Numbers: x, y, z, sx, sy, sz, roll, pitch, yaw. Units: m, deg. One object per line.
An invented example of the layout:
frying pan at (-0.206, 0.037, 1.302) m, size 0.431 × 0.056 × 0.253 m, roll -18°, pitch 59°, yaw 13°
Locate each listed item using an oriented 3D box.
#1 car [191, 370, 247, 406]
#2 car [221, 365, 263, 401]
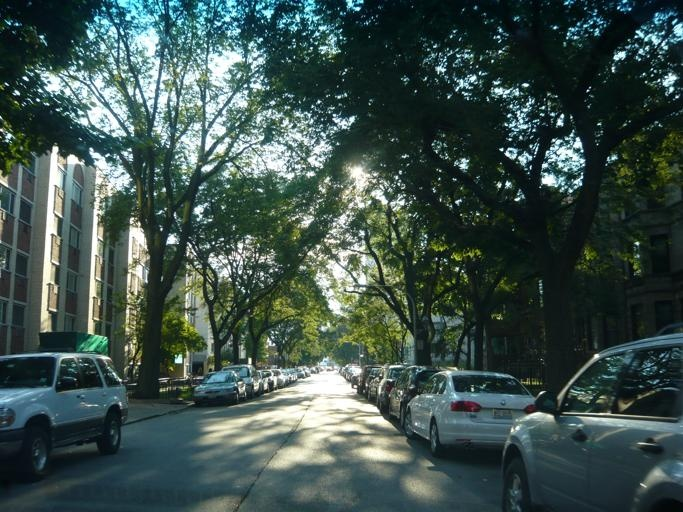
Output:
car at (-5.270, 5.558, 29.586) m, size 1.889 × 1.444 × 1.727 m, roll 2°, pitch -14°, yaw -15°
car at (-4.790, 6.262, 35.004) m, size 1.084 × 0.985 × 2.413 m, roll -2°, pitch -19°, yaw 1°
